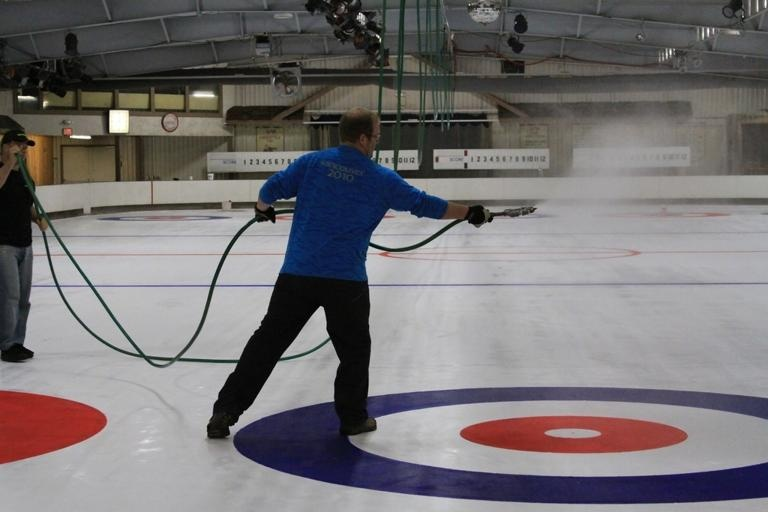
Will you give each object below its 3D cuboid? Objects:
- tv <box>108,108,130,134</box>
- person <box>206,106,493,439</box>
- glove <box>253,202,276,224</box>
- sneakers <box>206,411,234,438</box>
[{"bbox_3d":[-9.856,-4.981,29.053,0.776,0.881,0.292,-5,14,-18],"label":"tv"},{"bbox_3d":[-0.412,0.124,5.752,1.656,2.348,0.604,-1,13,-2],"label":"person"},{"bbox_3d":[-0.889,-0.320,5.875,0.148,0.061,0.174,3,-14,-4],"label":"glove"},{"bbox_3d":[-1.176,1.230,5.692,0.217,0.189,0.158,-2,-17,-3],"label":"sneakers"}]
